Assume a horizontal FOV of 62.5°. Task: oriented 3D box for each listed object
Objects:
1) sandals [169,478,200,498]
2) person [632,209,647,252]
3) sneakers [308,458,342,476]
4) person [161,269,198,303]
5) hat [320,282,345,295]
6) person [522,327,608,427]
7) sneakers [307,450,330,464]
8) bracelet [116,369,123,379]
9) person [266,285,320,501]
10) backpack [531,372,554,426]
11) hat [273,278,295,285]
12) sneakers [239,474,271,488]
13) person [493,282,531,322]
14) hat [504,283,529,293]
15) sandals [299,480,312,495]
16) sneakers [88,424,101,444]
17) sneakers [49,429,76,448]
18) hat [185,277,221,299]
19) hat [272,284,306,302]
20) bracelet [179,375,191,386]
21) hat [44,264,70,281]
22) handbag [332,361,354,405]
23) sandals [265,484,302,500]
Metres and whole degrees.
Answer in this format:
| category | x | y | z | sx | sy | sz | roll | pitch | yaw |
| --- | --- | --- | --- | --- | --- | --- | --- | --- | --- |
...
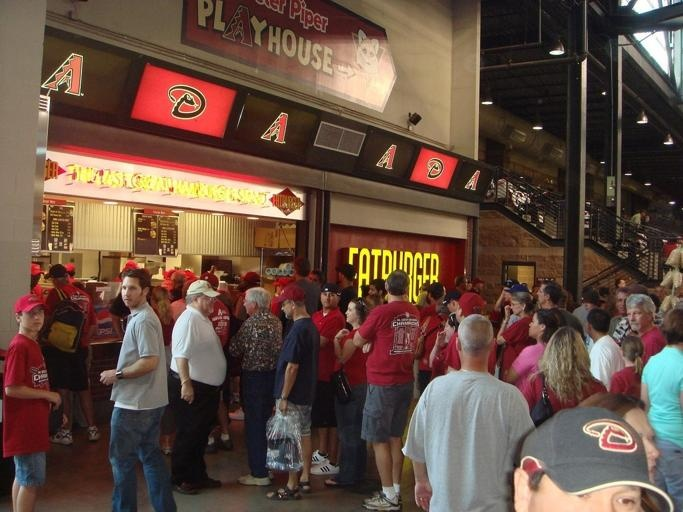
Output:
| category | x | y | z | sx | sy | sz | roll | pitch | yaw |
| --- | --- | --- | --- | --- | --- | --- | --- | --- | --- |
| sandals | -1.564 | 2.340 | 5.649 | 0.289 | 0.124 | 0.111 | 2 | -10 | 4 |
| person | 10.161 | -0.821 | 19.172 | 0.474 | 1.563 | 0.496 | 6 | -10 | 35 |
| sneakers | -0.182 | 2.391 | 6.355 | 0.306 | 0.144 | 0.127 | 3 | -6 | -4 |
| person | -2.239 | 0.365 | 7.643 | 0.524 | 0.315 | 0.705 | 4 | 10 | -7 |
| hat | -0.113 | 0.357 | 6.256 | 0.193 | 0.090 | 0.238 | 2 | 2 | -6 |
| person | 1.540 | 0.843 | 3.923 | 0.588 | 1.067 | 0.332 | 1 | -2 | 16 |
| sneakers | -0.264 | 2.346 | 6.565 | 0.217 | 0.104 | 0.088 | 3 | -4 | 1 |
| bracelet | -1.865 | 0.992 | 4.721 | 0.043 | 0.072 | 0.067 | 0 | 0 | -11 |
| person | -0.450 | 1.362 | 5.697 | 0.454 | 1.399 | 0.364 | 2 | 1 | -22 |
| backpack | 1.479 | 1.068 | 4.131 | 0.104 | 0.346 | 0.136 | 15 | 11 | 22 |
| hat | -0.831 | 0.376 | 8.141 | 0.233 | 0.114 | 0.329 | 2 | -3 | -27 |
| sneakers | -0.910 | 2.331 | 5.945 | 0.339 | 0.147 | 0.129 | 5 | 1 | 15 |
| person | 2.487 | 0.810 | 8.071 | 0.465 | 0.804 | 0.367 | -4 | -24 | 13 |
| hat | 2.277 | 0.417 | 7.362 | 0.270 | 0.170 | 0.185 | 3 | -6 | 6 |
| sandals | -0.378 | 2.386 | 5.802 | 0.087 | 0.100 | 0.245 | 1 | -2 | -5 |
| sneakers | -3.043 | 2.149 | 6.887 | 0.099 | 0.106 | 0.240 | -2 | 16 | -9 |
| sneakers | -3.315 | 2.168 | 6.687 | 0.287 | 0.154 | 0.115 | 8 | -5 | 6 |
| hat | -1.385 | 0.327 | 5.604 | 0.250 | 0.147 | 0.178 | 0 | 1 | -11 |
| hat | -0.528 | 0.405 | 5.759 | 0.268 | 0.158 | 0.182 | 8 | 9 | 28 |
| bracelet | -1.485 | 1.183 | 5.351 | 0.059 | 0.080 | 0.043 | 7 | 0 | 13 |
| hat | -3.523 | 0.182 | 6.974 | 0.254 | 0.147 | 0.179 | 13 | 16 | 40 |
| handbag | 0.014 | 1.358 | 5.878 | 0.097 | 0.313 | 0.208 | 6 | -16 | -43 |
| sandals | -0.573 | 2.363 | 5.654 | 0.251 | 0.115 | 0.144 | 7 | -12 | 5 |
